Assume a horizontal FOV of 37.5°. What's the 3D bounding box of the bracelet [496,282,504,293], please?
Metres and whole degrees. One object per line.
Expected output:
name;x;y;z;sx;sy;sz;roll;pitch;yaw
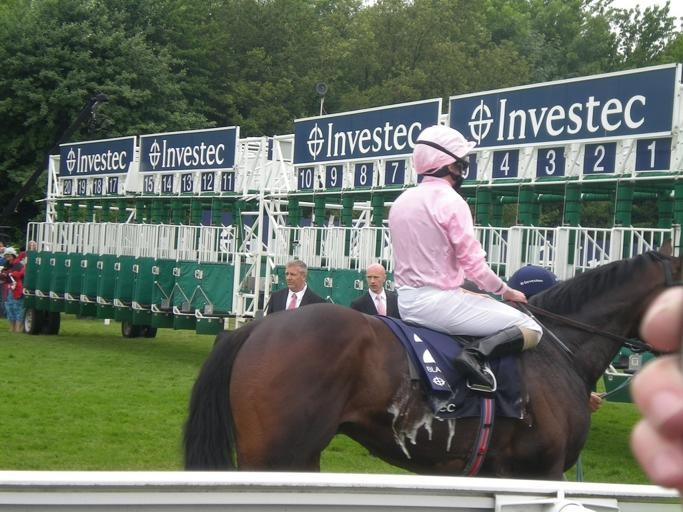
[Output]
bracelet;1.204;0.236;7.581;0.051;0.071;0.071;24;27;3

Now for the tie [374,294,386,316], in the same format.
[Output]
tie;0.409;0.495;10.619;0.086;0.069;0.337;1;36;-10

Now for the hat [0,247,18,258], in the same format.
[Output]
hat;-6.743;-0.071;20.392;0.275;0.207;0.191;-30;22;-38

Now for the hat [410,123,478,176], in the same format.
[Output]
hat;0.788;-0.843;7.829;0.447;0.277;0.339;-20;25;-20
